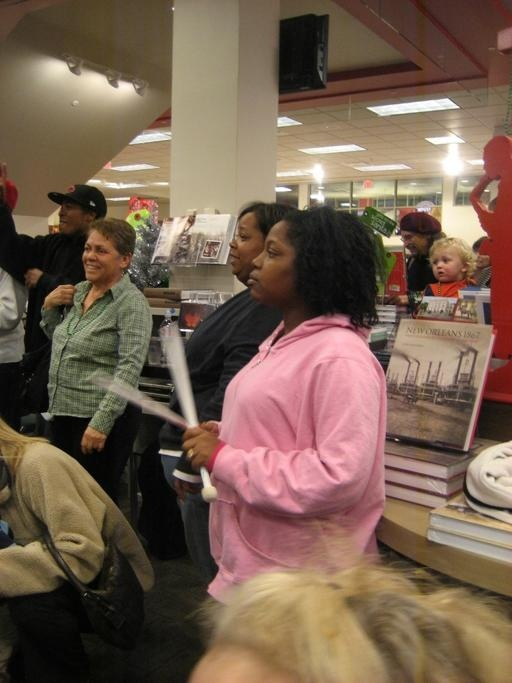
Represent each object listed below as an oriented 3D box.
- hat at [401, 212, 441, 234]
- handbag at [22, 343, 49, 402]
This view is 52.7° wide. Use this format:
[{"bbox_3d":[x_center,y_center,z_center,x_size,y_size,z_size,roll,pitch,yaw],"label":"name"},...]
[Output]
[{"bbox_3d":[1.403,-0.976,4.377,0.268,0.099,0.196,8,4,-16],"label":"hat"},{"bbox_3d":[-1.083,0.172,2.564,0.101,0.246,0.201,10,-19,-17],"label":"handbag"}]
